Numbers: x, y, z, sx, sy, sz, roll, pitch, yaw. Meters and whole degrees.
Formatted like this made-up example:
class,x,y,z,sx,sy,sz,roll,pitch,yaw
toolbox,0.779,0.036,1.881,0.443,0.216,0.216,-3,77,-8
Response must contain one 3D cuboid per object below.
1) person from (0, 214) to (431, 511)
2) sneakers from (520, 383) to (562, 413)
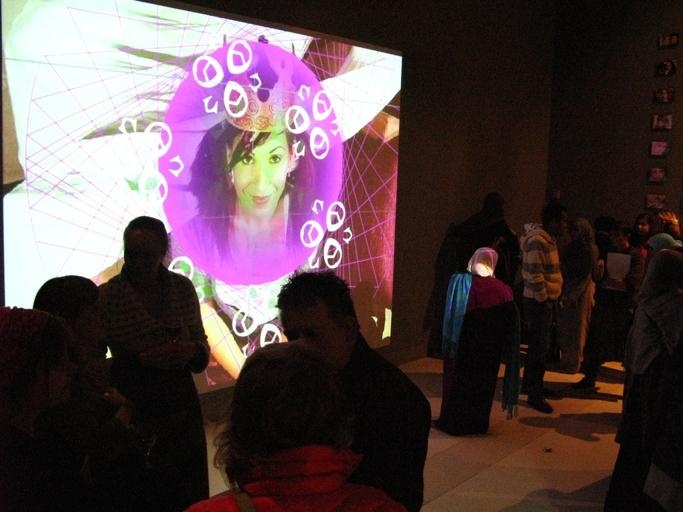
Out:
class,x,y,z,sx,sy,sz,roll,pitch,yaw
person,-0.354,0.425,1.661,1.208,1.016,0.520,8,10,42
sneakers,1.745,1.267,4.744,0.135,0.276,0.351,-1,-2,-40
